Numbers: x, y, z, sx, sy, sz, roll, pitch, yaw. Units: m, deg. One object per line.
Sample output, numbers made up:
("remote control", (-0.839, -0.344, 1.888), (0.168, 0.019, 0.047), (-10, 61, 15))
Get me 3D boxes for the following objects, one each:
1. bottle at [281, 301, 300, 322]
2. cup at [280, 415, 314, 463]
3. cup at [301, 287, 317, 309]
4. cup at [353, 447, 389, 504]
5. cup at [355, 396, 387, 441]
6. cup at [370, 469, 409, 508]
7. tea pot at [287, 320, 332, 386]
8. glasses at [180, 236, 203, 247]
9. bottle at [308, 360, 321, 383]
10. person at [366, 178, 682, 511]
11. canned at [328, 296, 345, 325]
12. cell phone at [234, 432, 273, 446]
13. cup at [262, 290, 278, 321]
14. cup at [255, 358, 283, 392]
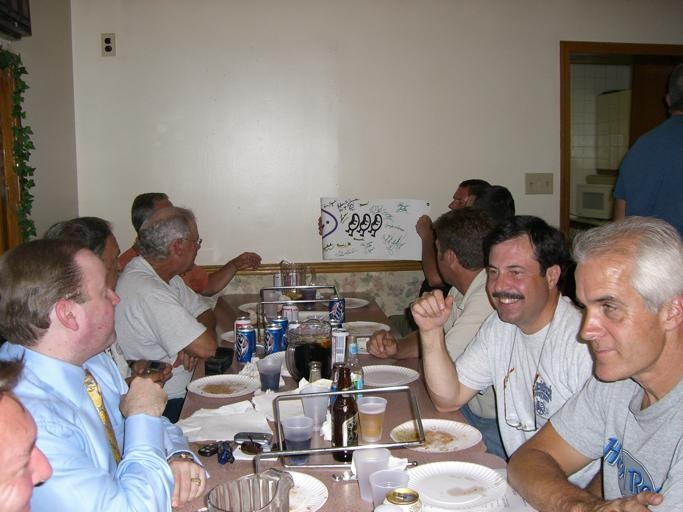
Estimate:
("bottle", (-0.238, 0.285, 2.703), (0.090, 0.134, 0.094), (0, -6, 0))
("cup", (-0.132, 0.562, 1.608), (0.110, 0.124, 0.116), (-2, -20, -1))
("cup", (-0.199, 0.270, 3.353), (0.125, 0.156, 0.113), (1, -15, -1))
("cup", (0.074, 0.594, 1.482), (0.131, 0.145, 0.140), (4, -27, 2))
("cup", (0.090, 0.523, 1.676), (0.094, 0.107, 0.096), (-1, -8, 0))
("cup", (0.128, 0.574, 1.375), (0.090, 0.073, 0.091), (-1, 3, 0))
("tea pot", (-0.141, 0.412, 2.182), (0.154, 0.248, 0.241), (2, 9, 30))
("glasses", (-0.760, -0.068, 2.735), (0.090, 0.029, 0.090), (-1, 4, -10))
("bottle", (-0.097, 0.440, 2.042), (0.066, 0.103, 0.069), (1, -1, 0))
("person", (0.666, 0.460, 2.290), (0.872, 1.684, 0.962), (15, -29, -14))
("canned", (-0.023, 0.307, 2.904), (0.117, 0.215, 0.121), (0, -2, -1))
("cell phone", (-0.266, 0.556, 1.632), (0.082, 0.031, 0.049), (1, 9, 3))
("cup", (-0.393, 0.263, 2.940), (0.126, 0.202, 0.133), (0, -6, 0))
("cup", (-0.279, 0.450, 2.057), (0.111, 0.128, 0.114), (-2, -3, 0))
